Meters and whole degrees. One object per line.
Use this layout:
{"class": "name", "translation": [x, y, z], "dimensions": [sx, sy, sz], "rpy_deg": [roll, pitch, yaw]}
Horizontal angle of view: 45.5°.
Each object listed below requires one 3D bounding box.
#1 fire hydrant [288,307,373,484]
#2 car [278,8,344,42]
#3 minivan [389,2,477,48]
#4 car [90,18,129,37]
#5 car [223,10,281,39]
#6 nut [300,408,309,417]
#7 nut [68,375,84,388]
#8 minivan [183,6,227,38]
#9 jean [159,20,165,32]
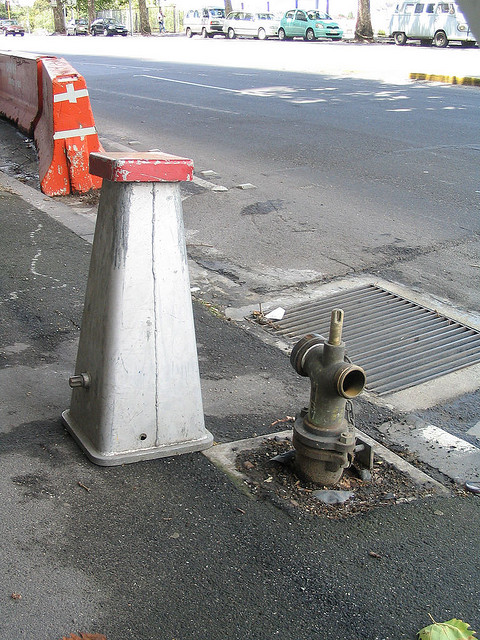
{"class": "fire hydrant", "translation": [0.350, 0.313, 2.427], "dimensions": [0.393, 0.793, 0.311], "rpy_deg": [17, 30, 33]}
{"class": "car", "translation": [5.038, -21.310, 41.416], "dimensions": [2.022, 2.070, 4.285], "rpy_deg": [-22, 31, -40]}
{"class": "minivan", "translation": [11.602, -17.998, 34.722], "dimensions": [2.236, 2.699, 6.416], "rpy_deg": [-7, 24, -15]}
{"class": "car", "translation": [-14.685, -32.571, 63.765], "dimensions": [3.214, 1.891, 3.787], "rpy_deg": [-12, 25, -25]}
{"class": "car", "translation": [1.013, -23.770, 45.886], "dimensions": [0.948, 2.283, 7.037], "rpy_deg": [-15, 27, -28]}
{"class": "nut", "translation": [0.278, 0.405, 2.508], "dimensions": [0.033, 0.032, 0.031], "rpy_deg": [-3, 15, -21]}
{"class": "nut", "translation": [-0.756, 0.279, 2.608], "dimensions": [0.105, 0.053, 0.062], "rpy_deg": [2, -2, -17]}
{"class": "minivan", "translation": [-2.938, -27.330, 52.826], "dimensions": [3.185, 2.827, 6.064], "rpy_deg": [-12, 37, -17]}
{"class": "jean", "translation": [-9.544, -35.493, 68.988], "dimensions": [0.470, 1.128, 0.890], "rpy_deg": [-6, 25, -13]}
